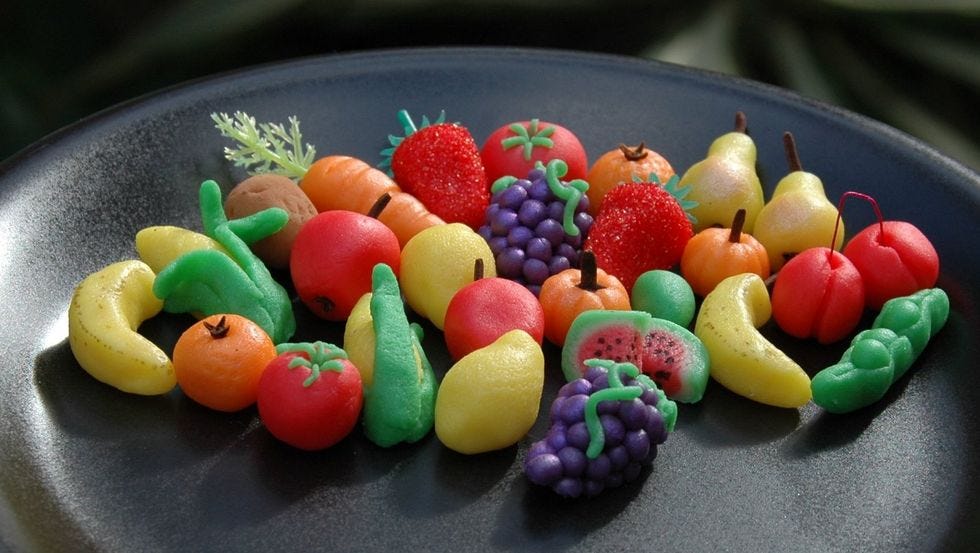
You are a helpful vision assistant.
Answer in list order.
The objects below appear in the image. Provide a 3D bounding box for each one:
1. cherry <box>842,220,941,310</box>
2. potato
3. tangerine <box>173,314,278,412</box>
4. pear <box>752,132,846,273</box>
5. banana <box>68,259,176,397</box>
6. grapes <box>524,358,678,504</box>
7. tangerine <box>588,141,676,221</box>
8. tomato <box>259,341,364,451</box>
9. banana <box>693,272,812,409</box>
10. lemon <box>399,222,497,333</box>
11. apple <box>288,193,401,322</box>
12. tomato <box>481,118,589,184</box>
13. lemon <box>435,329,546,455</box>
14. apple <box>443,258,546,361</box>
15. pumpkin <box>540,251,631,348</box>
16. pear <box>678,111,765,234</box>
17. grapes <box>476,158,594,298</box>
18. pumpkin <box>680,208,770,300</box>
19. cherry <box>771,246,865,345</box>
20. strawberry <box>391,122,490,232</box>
[{"bbox_3d":[0.766,-0.031,2.070,0.161,0.144,0.249,5,22,28],"label":"cherry"},{"bbox_3d":[-0.441,-0.143,2.122,0.154,0.152,0.200,-18,45,-34],"label":"potato"},{"bbox_3d":[-0.470,0.146,1.856,0.160,0.092,0.157,26,67,10],"label":"tangerine"},{"bbox_3d":[0.625,-0.140,2.117,0.147,0.133,0.277,21,41,-6],"label":"pear"},{"bbox_3d":[-0.670,0.092,1.888,0.215,0.134,0.381,0,33,-18],"label":"banana"},{"bbox_3d":[0.168,0.215,1.884,0.336,0.215,0.270,-11,15,-21],"label":"grapes"},{"bbox_3d":[0.287,-0.209,2.168,0.163,0.148,0.156,-6,15,3],"label":"tangerine"},{"bbox_3d":[-0.309,0.202,1.809,0.172,0.081,0.165,0,65,-2],"label":"tomato"},{"bbox_3d":[0.480,0.113,1.948,0.145,0.168,0.284,2,93,0],"label":"banana"},{"bbox_3d":[-0.113,0.004,2.051,0.199,0.194,0.209,0,62,-21],"label":"lemon"},{"bbox_3d":[-0.279,-0.053,2.064,0.210,0.197,0.267,-9,21,-30],"label":"apple"},{"bbox_3d":[0.094,-0.263,2.150,0.176,0.150,0.147,-7,33,-9],"label":"tomato"},{"bbox_3d":[-0.010,0.188,1.890,0.210,0.178,0.239,-4,20,-6],"label":"lemon"},{"bbox_3d":[0.011,0.045,1.947,0.172,0.137,0.190,-19,24,-37],"label":"apple"},{"bbox_3d":[0.173,0.047,1.934,0.172,0.116,0.214,-10,14,-9],"label":"pumpkin"},{"bbox_3d":[0.484,-0.206,2.177,0.149,0.141,0.256,25,52,0],"label":"pear"},{"bbox_3d":[0.087,-0.084,2.018,0.203,0.184,0.249,13,68,-4],"label":"grapes"},{"bbox_3d":[0.443,-0.052,2.097,0.203,0.156,0.128,-16,14,-35],"label":"pumpkin"},{"bbox_3d":[0.614,0.039,2.044,0.195,0.169,0.172,-3,33,-6],"label":"cherry"},{"bbox_3d":[-0.086,-0.206,2.103,0.163,0.206,0.181,-21,31,-17],"label":"strawberry"}]
